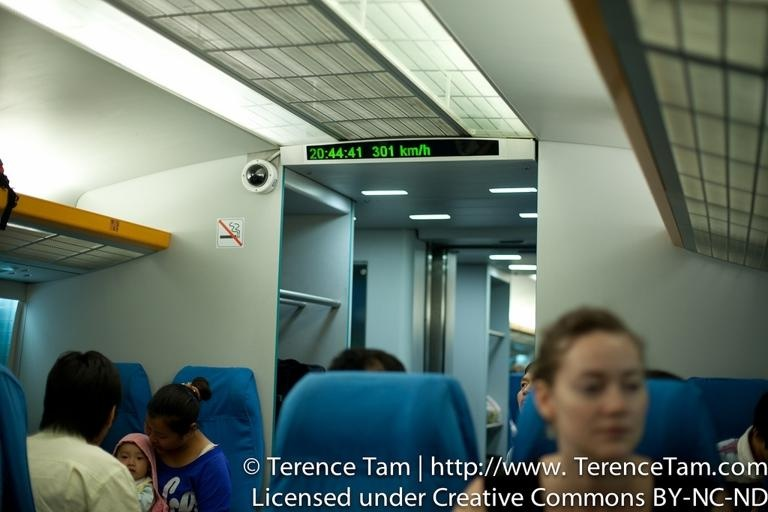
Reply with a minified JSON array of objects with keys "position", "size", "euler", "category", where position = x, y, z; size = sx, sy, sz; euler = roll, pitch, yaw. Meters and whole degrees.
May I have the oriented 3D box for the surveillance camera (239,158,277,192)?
[{"position":[-1.143,-0.746,4.955],"size":[0.302,0.302,0.103],"euler":[-4,-8,17],"category":"surveillance camera"}]
